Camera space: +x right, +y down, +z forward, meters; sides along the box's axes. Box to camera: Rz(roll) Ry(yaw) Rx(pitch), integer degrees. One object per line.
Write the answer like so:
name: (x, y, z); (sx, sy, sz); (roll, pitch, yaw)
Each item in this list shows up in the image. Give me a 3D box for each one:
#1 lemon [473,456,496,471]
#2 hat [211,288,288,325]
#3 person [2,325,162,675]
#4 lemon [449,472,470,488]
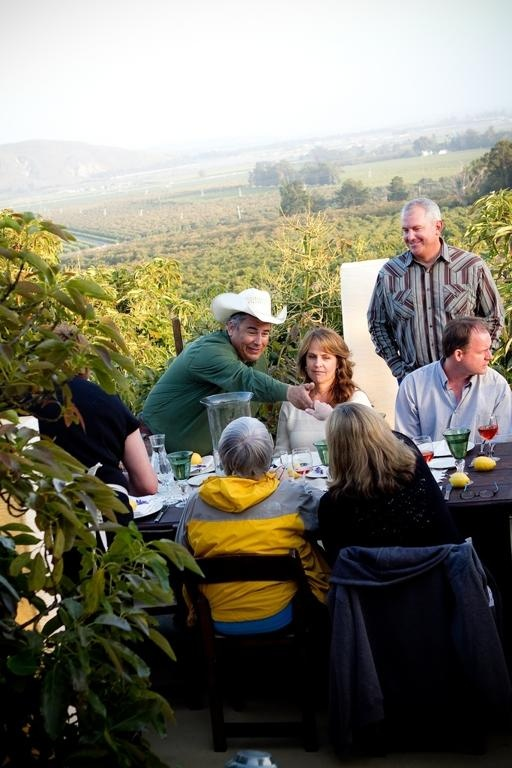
lemon: (0.935, 0.327, 2.142); (0.075, 0.056, 0.059); (-7, -3, 39)
hat: (-0.020, -0.484, 3.266); (0.406, 0.182, 0.435); (6, -15, -8)
person: (-0.573, 0.202, 1.769); (0.320, 0.829, 0.527); (-8, 16, 2)
lemon: (0.789, 0.369, 2.014); (0.055, 0.052, 0.067); (1, 4, -23)
